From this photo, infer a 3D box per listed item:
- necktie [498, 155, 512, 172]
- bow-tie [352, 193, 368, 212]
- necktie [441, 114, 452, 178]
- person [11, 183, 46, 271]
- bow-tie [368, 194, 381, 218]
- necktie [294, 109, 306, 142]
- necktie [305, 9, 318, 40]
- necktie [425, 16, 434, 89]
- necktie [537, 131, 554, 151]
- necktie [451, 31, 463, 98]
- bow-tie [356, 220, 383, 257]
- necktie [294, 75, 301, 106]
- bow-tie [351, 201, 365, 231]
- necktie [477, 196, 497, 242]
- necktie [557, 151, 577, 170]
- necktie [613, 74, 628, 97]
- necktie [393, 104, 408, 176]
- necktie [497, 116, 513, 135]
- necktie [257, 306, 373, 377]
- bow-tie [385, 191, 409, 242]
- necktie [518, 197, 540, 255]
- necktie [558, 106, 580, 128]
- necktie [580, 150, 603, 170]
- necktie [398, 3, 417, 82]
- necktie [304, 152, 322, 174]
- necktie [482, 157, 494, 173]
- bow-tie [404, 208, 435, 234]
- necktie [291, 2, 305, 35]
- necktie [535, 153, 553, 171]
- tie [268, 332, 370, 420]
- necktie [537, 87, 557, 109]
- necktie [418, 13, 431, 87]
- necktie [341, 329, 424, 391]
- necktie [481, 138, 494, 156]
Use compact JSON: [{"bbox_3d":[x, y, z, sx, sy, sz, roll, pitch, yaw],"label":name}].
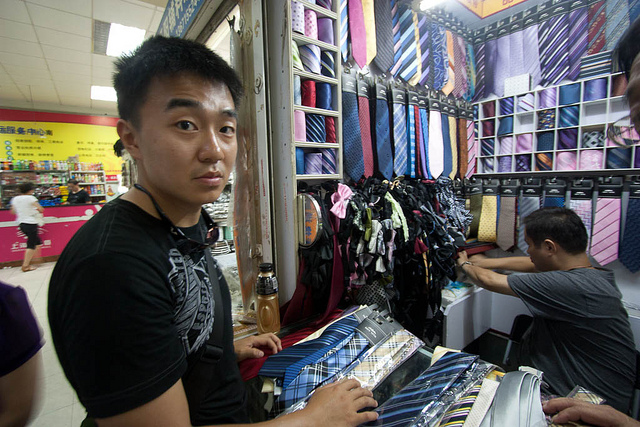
[{"bbox_3d":[2.238,-0.579,4.592,0.156,0.183,0.160,1,11,3],"label":"necktie"},{"bbox_3d":[0.307,-0.083,3.136,0.126,0.129,0.043,-31,-2,-44],"label":"bow-tie"},{"bbox_3d":[1.408,-0.760,4.251,0.110,0.782,0.068,-4,4,-23],"label":"necktie"},{"bbox_3d":[-5.096,0.278,6.667,0.422,1.550,0.853,-3,3,-36],"label":"person"},{"bbox_3d":[0.457,-0.053,3.202,0.104,0.192,0.194,-1,2,9],"label":"bow-tie"},{"bbox_3d":[-0.167,-0.702,3.082,0.101,0.258,0.025,-3,3,-37],"label":"necktie"},{"bbox_3d":[-0.058,-1.570,3.183,0.132,0.225,0.144,3,28,16],"label":"necktie"},{"bbox_3d":[1.196,-1.781,4.182,0.114,0.814,0.086,3,1,-1],"label":"necktie"},{"bbox_3d":[2.554,-0.814,4.317,0.046,0.226,0.166,-3,3,-40],"label":"necktie"},{"bbox_3d":[1.629,-1.761,4.513,0.182,0.731,0.035,-3,2,-9],"label":"necktie"},{"bbox_3d":[0.389,0.215,3.041,0.204,0.260,0.077,15,-5,-23],"label":"bow-tie"},{"bbox_3d":[-0.185,-0.992,3.066,0.024,0.236,0.072,0,2,34],"label":"necktie"},{"bbox_3d":[0.296,0.026,3.055,0.113,0.191,0.044,1,-14,-33],"label":"bow-tie"},{"bbox_3d":[1.914,0.081,4.347,0.196,0.522,0.160,0,2,26],"label":"necktie"},{"bbox_3d":[2.711,-0.568,4.173,0.171,0.188,0.185,2,-1,39],"label":"necktie"},{"bbox_3d":[3.072,-1.312,3.902,0.102,0.223,0.183,0,3,37],"label":"necktie"},{"bbox_3d":[0.808,-0.728,3.811,0.209,0.706,0.058,-3,3,-42],"label":"necktie"},{"bbox_3d":[2.243,-1.055,4.594,0.120,0.144,0.188,0,0,-1],"label":"necktie"},{"bbox_3d":[-0.061,0.858,2.437,0.893,0.104,0.266,-29,25,-17],"label":"necktie"},{"bbox_3d":[0.644,0.057,3.238,0.171,0.537,0.177,-6,-31,5],"label":"bow-tie"},{"bbox_3d":[2.303,0.113,4.224,0.066,0.754,0.197,2,2,-27],"label":"necktie"},{"bbox_3d":[2.728,-1.052,4.162,0.189,0.219,0.195,3,7,26],"label":"necktie"},{"bbox_3d":[2.867,-0.569,4.022,0.183,0.187,0.170,-2,8,-28],"label":"necktie"},{"bbox_3d":[0.898,-1.765,3.930,0.233,0.791,0.055,-3,2,-29],"label":"necktie"},{"bbox_3d":[-0.055,-0.418,3.211,0.161,0.190,0.165,0,5,1],"label":"necktie"},{"bbox_3d":[2.108,-0.594,4.766,0.158,0.189,0.162,-2,-1,34],"label":"necktie"},{"bbox_3d":[0.894,0.084,3.407,0.314,0.246,0.124,-3,3,-33],"label":"bow-tie"},{"bbox_3d":[-0.172,-1.565,3.049,0.042,0.241,0.121,0,3,43],"label":"necktie"},{"bbox_3d":[2.537,-0.569,4.313,0.174,0.201,0.175,0,-1,-16],"label":"necktie"},{"bbox_3d":[0.148,0.986,2.303,0.897,0.195,0.129,-31,32,5],"label":"tie"},{"bbox_3d":[2.555,-1.279,4.314,0.189,0.214,0.187,4,-4,-36],"label":"necktie"},{"bbox_3d":[1.098,-1.763,4.056,0.082,0.770,0.163,0,2,30],"label":"necktie"},{"bbox_3d":[0.430,0.909,2.289,0.594,0.215,0.066,-36,-22,-27],"label":"necktie"},{"bbox_3d":[2.091,-0.809,4.753,0.040,0.174,0.168,-2,11,-34],"label":"necktie"}]
